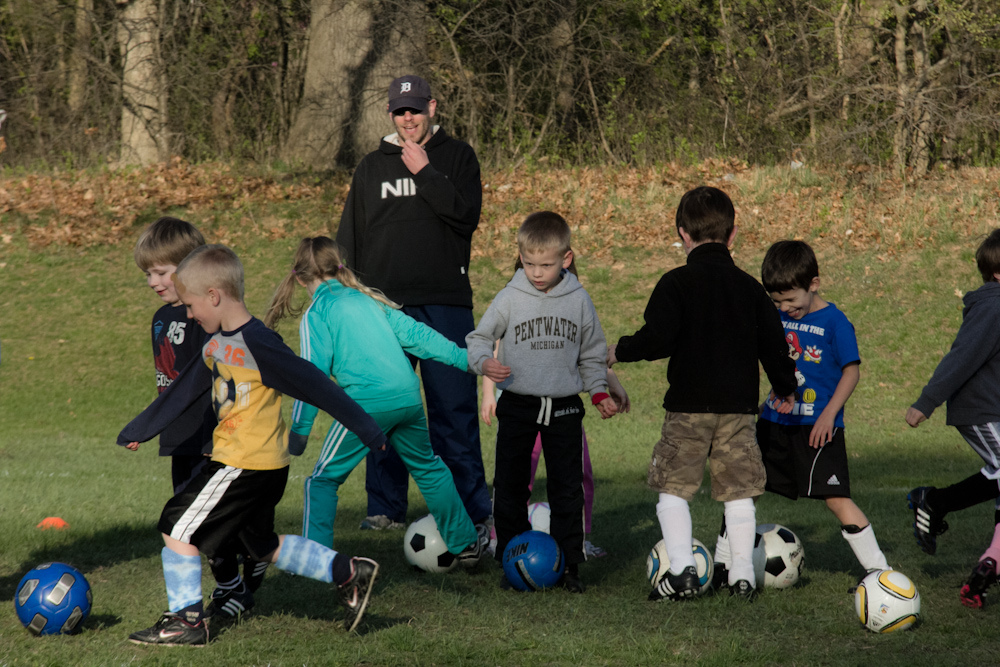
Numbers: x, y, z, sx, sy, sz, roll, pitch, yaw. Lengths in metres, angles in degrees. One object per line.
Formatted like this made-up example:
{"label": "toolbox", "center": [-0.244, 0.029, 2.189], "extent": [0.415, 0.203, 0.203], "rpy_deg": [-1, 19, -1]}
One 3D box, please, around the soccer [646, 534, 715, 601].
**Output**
{"label": "soccer", "center": [1.724, 2.222, 12.402], "extent": [0.624, 0.513, 0.537], "rpy_deg": [-14, -18, 38]}

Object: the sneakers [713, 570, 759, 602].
{"label": "sneakers", "center": [2.235, 2.404, 12.405], "extent": [0.240, 0.190, 0.501], "rpy_deg": [-6, 9, -24]}

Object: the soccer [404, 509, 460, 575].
{"label": "soccer", "center": [-0.704, 2.161, 13.015], "extent": [0.559, 0.618, 0.550], "rpy_deg": [-22, -40, 34]}

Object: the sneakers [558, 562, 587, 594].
{"label": "sneakers", "center": [0.683, 2.366, 12.466], "extent": [0.252, 0.227, 0.163], "rpy_deg": [-2, 9, -2]}

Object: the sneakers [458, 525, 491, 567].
{"label": "sneakers", "center": [-0.261, 2.125, 13.087], "extent": [0.186, 0.215, 0.484], "rpy_deg": [5, 42, 12]}

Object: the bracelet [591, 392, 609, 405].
{"label": "bracelet", "center": [0.952, 0.636, 12.629], "extent": [0.133, 0.086, 0.126], "rpy_deg": [-9, -2, -13]}

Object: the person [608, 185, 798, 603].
{"label": "person", "center": [1.955, 0.553, 12.360], "extent": [1.529, 3.837, 1.006], "rpy_deg": [-2, 9, 2]}

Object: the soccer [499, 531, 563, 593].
{"label": "soccer", "center": [0.289, 2.174, 12.619], "extent": [0.533, 0.556, 0.547], "rpy_deg": [-16, 7, -4]}

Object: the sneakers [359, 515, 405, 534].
{"label": "sneakers", "center": [-1.261, 2.038, 13.856], "extent": [0.447, 0.193, 0.174], "rpy_deg": [-4, 2, 8]}
